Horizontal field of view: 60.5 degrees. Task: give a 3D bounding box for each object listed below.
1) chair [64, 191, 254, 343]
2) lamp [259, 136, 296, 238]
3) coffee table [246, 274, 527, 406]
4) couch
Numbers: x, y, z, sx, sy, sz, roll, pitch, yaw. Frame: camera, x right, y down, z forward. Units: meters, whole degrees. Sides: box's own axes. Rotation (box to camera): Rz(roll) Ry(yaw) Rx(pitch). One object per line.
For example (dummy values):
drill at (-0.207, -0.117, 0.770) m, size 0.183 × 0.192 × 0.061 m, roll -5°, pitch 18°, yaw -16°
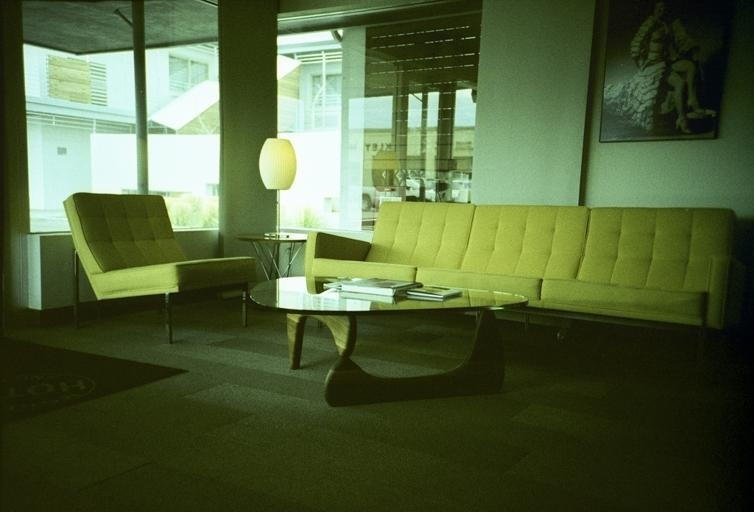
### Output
chair at (-1.589, 0.000, 4.809) m, size 1.164 × 0.840 × 0.856 m, roll 7°, pitch 8°, yaw 25°
lamp at (-0.953, -0.641, 6.125) m, size 0.321 × 0.938 × 0.655 m, roll -3°, pitch 12°, yaw -17°
coffee table at (0.203, 0.525, 4.021) m, size 1.384 × 0.546 × 1.669 m, roll -4°, pitch 2°, yaw -4°
couch at (0.934, 0.153, 4.849) m, size 2.971 × 1.042 × 0.908 m, roll 5°, pitch 6°, yaw 36°
